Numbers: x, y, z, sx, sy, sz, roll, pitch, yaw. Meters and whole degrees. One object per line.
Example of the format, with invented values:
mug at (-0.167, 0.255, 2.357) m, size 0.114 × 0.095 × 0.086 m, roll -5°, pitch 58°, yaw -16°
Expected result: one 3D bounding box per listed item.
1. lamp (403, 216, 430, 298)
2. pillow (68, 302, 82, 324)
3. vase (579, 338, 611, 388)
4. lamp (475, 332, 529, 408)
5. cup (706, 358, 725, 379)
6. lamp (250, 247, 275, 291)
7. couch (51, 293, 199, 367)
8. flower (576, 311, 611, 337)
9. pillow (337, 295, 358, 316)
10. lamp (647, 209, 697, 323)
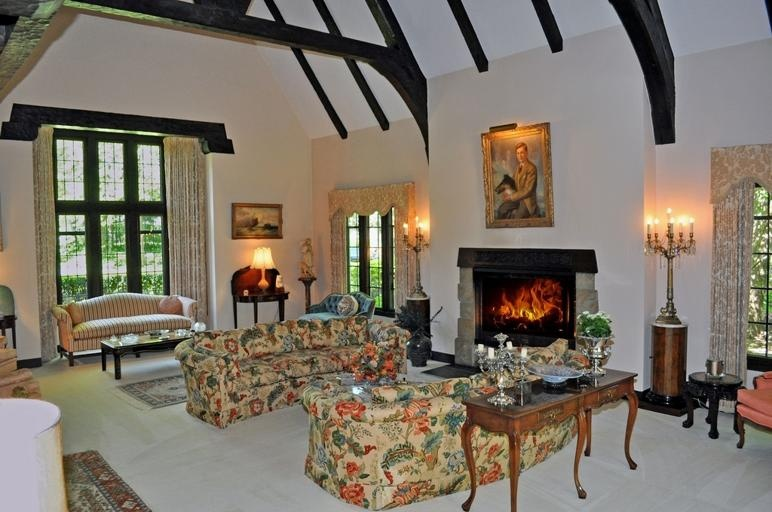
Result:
lamp at (0.562, 0.041, 10.201) m, size 0.509 × 1.536 × 0.794 m, roll 0°, pitch 7°, yaw 2°
pillow at (-5.938, 1.083, 9.869) m, size 0.140 × 0.349 × 0.349 m, roll -13°, pitch 1°, yaw 13°
vase at (2.287, 1.110, 5.665) m, size 0.381 × 0.444 × 0.424 m, roll 1°, pitch 6°, yaw 21°
lamp at (1.121, 1.147, 5.261) m, size 0.617 × 0.722 × 0.625 m, roll 2°, pitch 5°, yaw 30°
cup at (4.304, 1.471, 6.767) m, size 0.253 × 0.242 × 0.184 m, roll 4°, pitch -6°, yaw -37°
lamp at (-2.835, 0.278, 11.927) m, size 0.548 × 0.957 × 0.511 m, roll -4°, pitch 8°, yaw -26°
couch at (-5.284, 1.375, 10.519) m, size 0.901 × 1.117 × 2.665 m, roll 5°, pitch 4°, yaw 37°
flower at (2.541, 0.855, 6.306) m, size 0.316 × 0.282 × 0.534 m, roll 2°, pitch 7°, yaw 16°
pillow at (-0.785, 0.999, 10.222) m, size 0.131 × 0.378 × 0.397 m, roll 5°, pitch -46°, yaw -44°
lamp at (4.121, 0.145, 7.598) m, size 0.593 × 1.644 × 0.592 m, roll 6°, pitch 9°, yaw 40°
